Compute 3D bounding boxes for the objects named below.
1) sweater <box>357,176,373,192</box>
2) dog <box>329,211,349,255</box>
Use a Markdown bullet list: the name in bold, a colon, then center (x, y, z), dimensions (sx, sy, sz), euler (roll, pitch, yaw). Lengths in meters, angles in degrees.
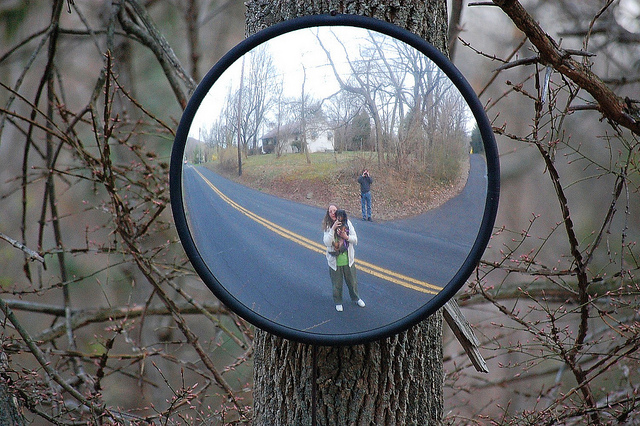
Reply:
- **sweater**: center (0.462, -0.300, 8.793), dimensions (0.170, 0.132, 0.234), euler (-2, -67, -1)
- **dog**: center (0.222, 0.202, 8.797), dimensions (0.163, 0.367, 0.224), euler (3, -30, 1)
